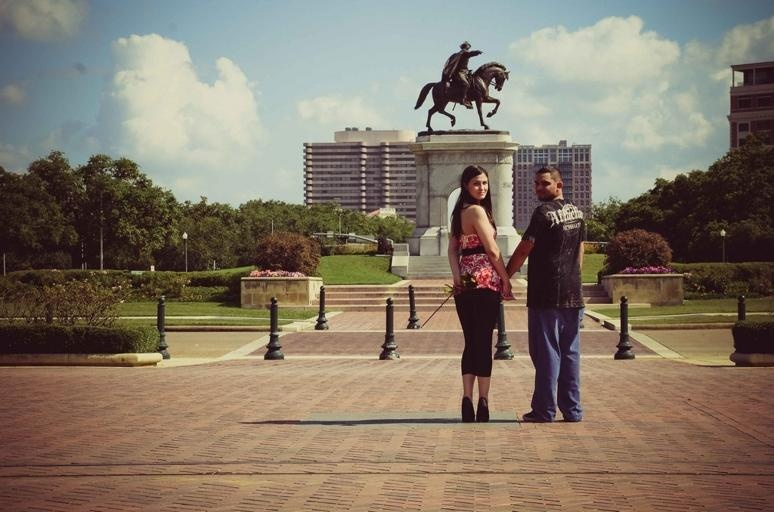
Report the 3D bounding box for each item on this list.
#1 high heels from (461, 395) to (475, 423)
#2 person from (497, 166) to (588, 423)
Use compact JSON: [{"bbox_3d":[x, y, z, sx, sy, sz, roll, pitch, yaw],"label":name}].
[{"bbox_3d":[1.055,2.035,12.310,0.128,0.368,0.159,-4,-12,8],"label":"high heels"},{"bbox_3d":[2.117,0.501,12.222,0.880,3.388,0.885,-2,0,15],"label":"person"}]
